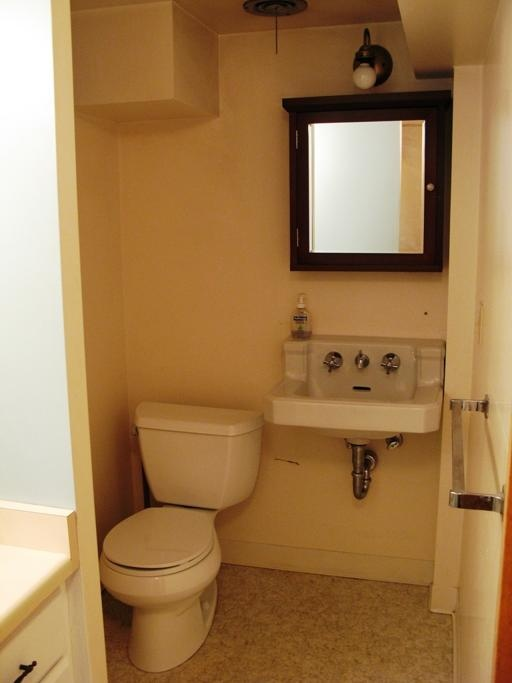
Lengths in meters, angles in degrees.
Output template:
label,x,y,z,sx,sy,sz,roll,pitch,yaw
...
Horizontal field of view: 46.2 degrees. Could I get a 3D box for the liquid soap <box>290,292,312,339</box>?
label,x,y,z,sx,sy,sz,roll,pitch,yaw
liquid soap,0.162,-0.092,2.187,0.074,0.156,0.077,-1,9,4

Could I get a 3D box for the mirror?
label,x,y,z,sx,sy,sz,roll,pitch,yaw
mirror,0.387,-0.526,2.003,0.428,0.507,0.076,1,6,16

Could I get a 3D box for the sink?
label,x,y,z,sx,sy,sz,roll,pitch,yaw
sink,0.316,0.262,1.933,0.538,0.224,0.313,2,11,19

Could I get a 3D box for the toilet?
label,x,y,z,sx,sy,sz,roll,pitch,yaw
toilet,-0.232,0.627,2.024,0.488,0.700,0.638,-1,10,5

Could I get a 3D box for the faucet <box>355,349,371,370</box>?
label,x,y,z,sx,sy,sz,roll,pitch,yaw
faucet,0.366,0.066,2.073,0.049,0.058,0.078,-11,-32,19

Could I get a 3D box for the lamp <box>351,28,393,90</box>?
label,x,y,z,sx,sy,sz,roll,pitch,yaw
lamp,0.359,-0.858,1.860,0.103,0.225,0.163,5,-16,19
